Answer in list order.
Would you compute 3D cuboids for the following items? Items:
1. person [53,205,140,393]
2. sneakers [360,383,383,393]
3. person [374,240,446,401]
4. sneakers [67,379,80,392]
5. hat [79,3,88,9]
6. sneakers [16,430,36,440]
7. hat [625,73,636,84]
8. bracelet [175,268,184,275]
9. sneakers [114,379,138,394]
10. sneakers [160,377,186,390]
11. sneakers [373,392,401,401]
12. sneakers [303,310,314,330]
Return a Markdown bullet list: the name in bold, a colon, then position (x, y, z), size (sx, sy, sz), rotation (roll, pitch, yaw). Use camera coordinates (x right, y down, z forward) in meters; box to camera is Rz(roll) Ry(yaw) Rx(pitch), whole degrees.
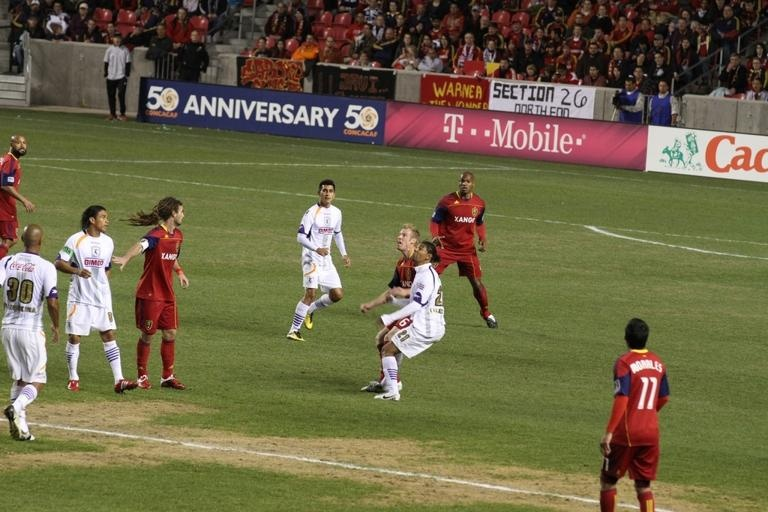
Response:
- **person**: position (-5.941, 0.878, 36.966), size (1.390, 3.780, 0.619), rotation (1, 6, -7)
- **sneakers**: position (-0.220, 2.753, 37.886), size (0.513, 0.184, 0.171), rotation (1, 1, 8)
- **person**: position (0.506, 1.331, 37.663), size (1.308, 3.286, 0.765), rotation (-2, 7, -31)
- **sneakers**: position (-6.281, 2.642, 37.020), size (0.302, 0.242, 0.192), rotation (1, 5, 9)
- **hat**: position (-11.134, -9.421, 67.699), size (0.321, 0.130, 0.443), rotation (4, 2, -6)
- **sneakers**: position (-6.902, 3.525, 35.296), size (0.135, 0.132, 0.299), rotation (50, 18, 18)
- **hat**: position (7.947, -5.776, 58.733), size (0.281, 0.282, 0.321), rotation (-3, -26, 8)
- **bracelet**: position (-4.233, 0.300, 37.861), size (0.162, 0.135, 0.527), rotation (14, -7, -16)
- **sneakers**: position (-5.179, 2.621, 37.026), size (0.623, 0.267, 0.198), rotation (-10, 33, 2)
- **sneakers**: position (-4.317, 2.643, 37.392), size (0.594, 0.220, 0.198), rotation (1, 3, 3)
- **sneakers**: position (0.116, 2.896, 37.502), size (0.605, 0.234, 0.185), rotation (3, 3, 6)
- **sneakers**: position (-1.654, 1.431, 40.388), size (0.196, 0.393, 0.154), rotation (-13, -4, 38)
